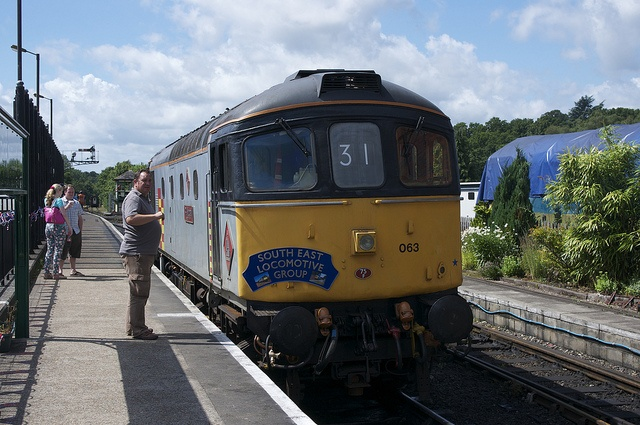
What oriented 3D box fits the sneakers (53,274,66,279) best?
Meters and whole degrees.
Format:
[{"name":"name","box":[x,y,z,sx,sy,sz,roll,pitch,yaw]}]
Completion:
[{"name":"sneakers","box":[-6.738,1.672,12.390,0.352,0.158,0.126,-1,2,-7]}]

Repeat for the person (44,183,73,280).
[{"name":"person","box":[-6.723,0.527,12.191,0.529,2.447,0.728,1,1,-30]}]

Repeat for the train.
[{"name":"train","box":[-0.478,0.279,7.644,5.279,4.995,2.416,2,1,40]}]

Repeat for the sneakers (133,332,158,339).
[{"name":"sneakers","box":[-2.708,1.894,7.378,0.324,0.156,0.148,-1,-3,-3]}]

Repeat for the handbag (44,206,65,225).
[{"name":"handbag","box":[-6.712,0.091,11.973,0.557,0.408,0.219,2,1,22]}]
